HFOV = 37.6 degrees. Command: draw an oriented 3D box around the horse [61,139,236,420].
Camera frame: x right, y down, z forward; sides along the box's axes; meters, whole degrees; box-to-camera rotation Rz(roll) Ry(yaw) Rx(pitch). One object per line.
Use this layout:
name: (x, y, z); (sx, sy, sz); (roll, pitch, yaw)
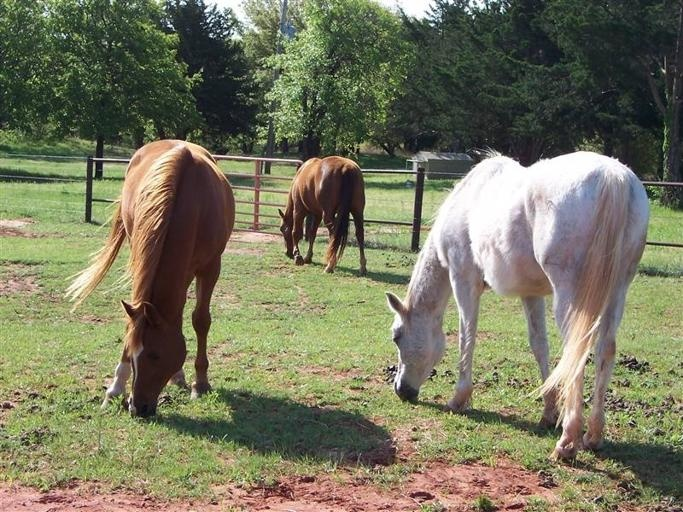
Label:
horse: (-3.767, 0.388, 21.262); (2.590, 5.678, 2.057); (4, 5, -3)

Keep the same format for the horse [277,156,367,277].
horse: (-0.700, -1.219, 28.676); (1.194, 3.485, 5.120); (2, -4, -22)
